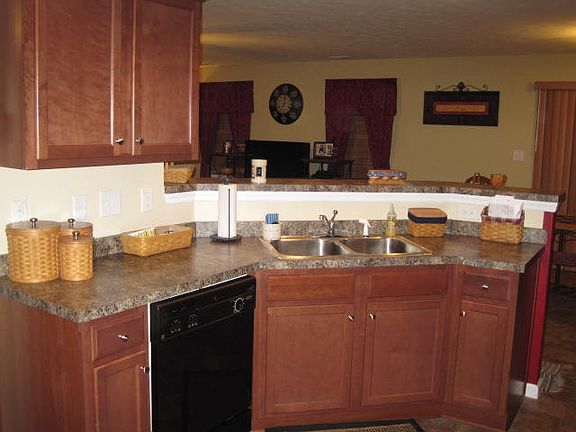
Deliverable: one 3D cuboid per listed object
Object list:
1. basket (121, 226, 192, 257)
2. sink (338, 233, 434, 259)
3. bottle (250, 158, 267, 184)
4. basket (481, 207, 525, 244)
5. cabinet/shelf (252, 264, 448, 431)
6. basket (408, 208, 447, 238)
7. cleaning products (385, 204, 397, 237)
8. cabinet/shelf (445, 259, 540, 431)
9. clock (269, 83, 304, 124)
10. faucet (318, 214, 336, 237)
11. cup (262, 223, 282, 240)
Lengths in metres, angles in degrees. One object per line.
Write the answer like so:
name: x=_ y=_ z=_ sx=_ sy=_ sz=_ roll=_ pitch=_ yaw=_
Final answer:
basket: x=-0.814 y=0.151 z=3.025 sx=0.225 sy=0.134 sz=0.403 roll=9 pitch=11 yaw=41
sink: x=0.625 y=0.235 z=3.251 sx=0.545 sy=0.118 sz=0.460 roll=-1 pitch=9 yaw=-11
bottle: x=-0.220 y=-0.337 z=3.624 sx=0.162 sy=0.247 sz=0.170 roll=0 pitch=6 yaw=0
basket: x=1.484 y=0.075 z=3.397 sx=0.238 sy=0.194 sz=0.240 roll=4 pitch=10 yaw=23
cabinet/shelf: x=0.332 y=0.783 z=2.991 sx=1.040 sy=0.857 sz=0.399 roll=-1 pitch=7 yaw=-9
basket: x=1.006 y=0.053 z=3.501 sx=0.223 sy=0.145 sz=0.225 roll=1 pitch=9 yaw=10
cleaning products: x=0.744 y=0.032 z=3.532 sx=0.073 sy=0.219 sz=0.187 roll=3 pitch=9 yaw=12
cabinet/shelf: x=1.380 y=0.833 z=3.173 sx=0.637 sy=1.043 sz=0.295 roll=-4 pitch=10 yaw=-27
clock: x=-0.006 y=-1.988 z=8.465 sx=0.709 sy=0.746 sz=0.081 roll=3 pitch=15 yaw=26
faucet: x=0.278 y=0.061 z=3.432 sx=0.106 sy=0.162 sz=0.233 roll=1 pitch=9 yaw=4
cup: x=-0.111 y=0.106 z=3.353 sx=0.110 sy=0.099 sz=0.111 roll=0 pitch=8 yaw=0
